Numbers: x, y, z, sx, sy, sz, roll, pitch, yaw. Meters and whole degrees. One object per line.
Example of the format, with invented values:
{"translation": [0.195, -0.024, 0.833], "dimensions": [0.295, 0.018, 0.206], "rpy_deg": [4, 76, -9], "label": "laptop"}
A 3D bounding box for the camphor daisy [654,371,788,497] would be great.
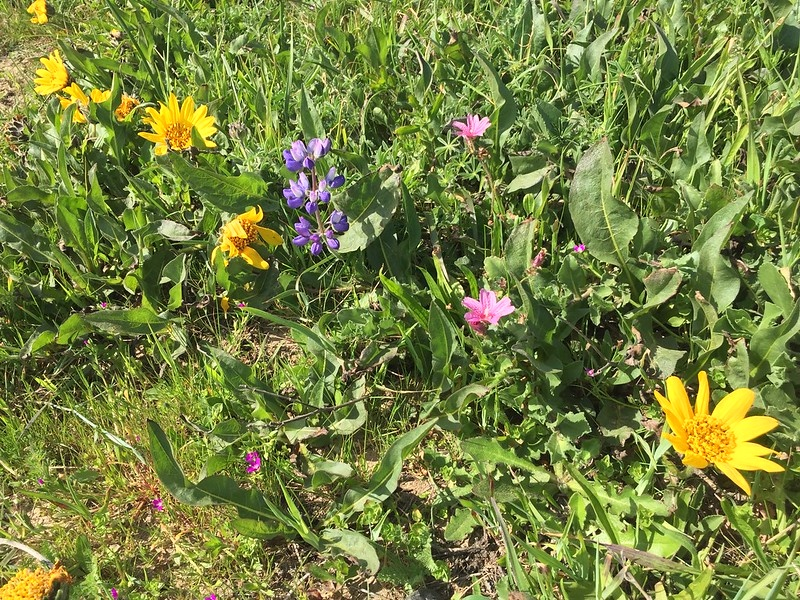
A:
{"translation": [1.012, 0.479, 2.255], "dimensions": [0.382, 0.153, 0.404], "rpy_deg": [-34, 70, -15], "label": "camphor daisy"}
